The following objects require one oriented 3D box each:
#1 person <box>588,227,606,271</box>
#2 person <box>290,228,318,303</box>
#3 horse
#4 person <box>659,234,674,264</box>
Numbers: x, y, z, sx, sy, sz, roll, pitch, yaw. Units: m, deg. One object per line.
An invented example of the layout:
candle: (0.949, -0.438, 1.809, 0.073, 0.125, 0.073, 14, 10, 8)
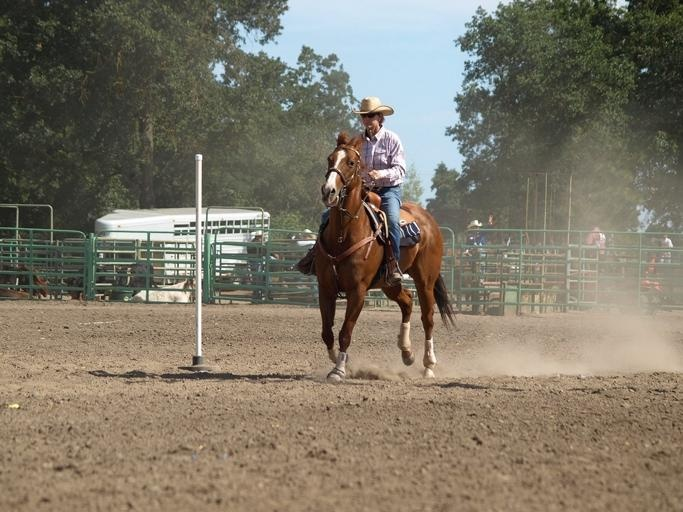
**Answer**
person: (8.502, -0.257, 34.448, 0.632, 1.474, 3.515, 0, -2, 14)
person: (-1.125, 0.406, 31.623, 0.657, 2.362, 1.134, 2, 4, 40)
horse: (0.928, 0.082, 24.788, 3.963, 5.776, 1.278, 3, -3, -42)
person: (10.572, -0.163, 33.520, 0.394, 1.082, 1.415, -2, -24, 18)
